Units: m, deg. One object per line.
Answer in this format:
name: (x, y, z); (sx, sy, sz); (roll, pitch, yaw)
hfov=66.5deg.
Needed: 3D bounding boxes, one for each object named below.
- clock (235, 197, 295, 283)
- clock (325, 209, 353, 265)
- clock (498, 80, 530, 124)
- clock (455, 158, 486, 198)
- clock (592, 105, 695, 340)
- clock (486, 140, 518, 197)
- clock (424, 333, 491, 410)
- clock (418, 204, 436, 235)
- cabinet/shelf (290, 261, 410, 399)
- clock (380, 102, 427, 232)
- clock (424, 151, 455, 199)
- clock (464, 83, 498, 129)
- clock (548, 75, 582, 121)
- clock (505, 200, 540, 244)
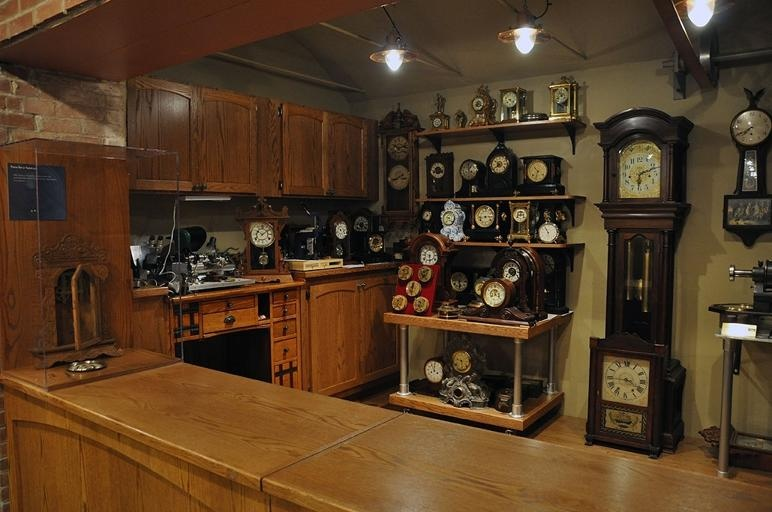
clock: (-1.080, -0.144, 5.282); (0.419, 0.713, 0.278); (-3, 15, -12)
clock: (-0.464, -0.186, 5.949); (0.240, 0.521, 0.368); (-1, 14, -5)
clock: (1.211, -1.425, 5.574); (0.286, 0.323, 0.475); (3, 14, 10)
clock: (0.851, -0.762, 5.812); (0.262, 0.348, 0.407); (3, 14, 8)
clock: (2.128, -0.276, 4.973); (0.743, 1.877, 0.637); (8, 16, 27)
clock: (1.098, -0.807, 5.548); (0.282, 0.471, 0.249); (4, 15, 11)
clock: (0.638, 1.044, 5.307); (0.659, 0.580, 0.481); (7, 15, 24)
clock: (0.414, -0.398, 6.021); (0.110, 0.309, 0.260); (-6, 16, -24)
cabinet/shelf: (-0.368, 0.699, 5.628); (0.518, 1.249, 1.361); (-2, -1, 34)
clock: (0.147, -0.972, 6.275); (0.491, 1.222, 0.359); (6, 15, 19)
clock: (0.553, -0.806, 5.924); (0.272, 0.447, 0.274); (1, 14, 1)
clock: (0.931, -1.427, 5.610); (0.240, 0.386, 0.250); (3, 14, 8)
clock: (1.619, -1.426, 5.307); (0.270, 0.391, 0.383); (5, 15, 17)
clock: (1.269, -0.323, 5.429); (0.267, 0.375, 0.261); (4, 15, 13)
